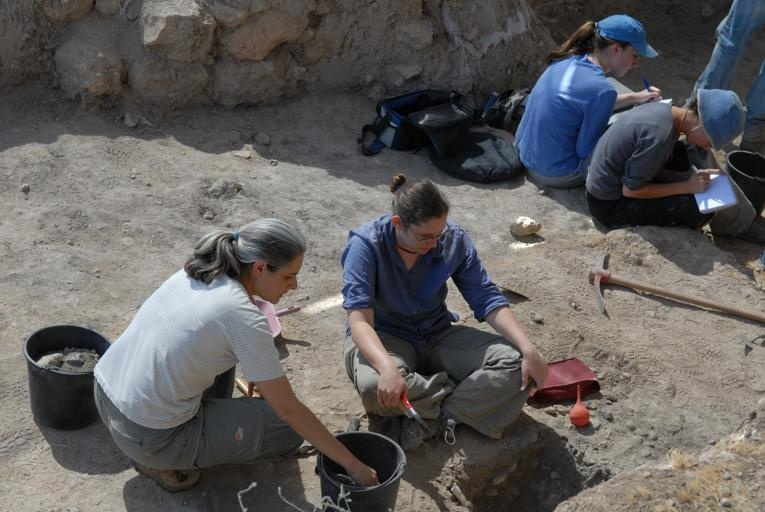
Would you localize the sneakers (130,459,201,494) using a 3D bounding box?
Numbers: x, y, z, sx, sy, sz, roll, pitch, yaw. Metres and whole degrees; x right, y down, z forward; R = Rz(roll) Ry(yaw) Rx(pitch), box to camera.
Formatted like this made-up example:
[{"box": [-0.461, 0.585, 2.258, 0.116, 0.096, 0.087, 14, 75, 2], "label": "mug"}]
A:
[{"box": [-1.408, 1.496, 5.919, 0.484, 0.204, 0.179, 9, 73, -8], "label": "sneakers"}]

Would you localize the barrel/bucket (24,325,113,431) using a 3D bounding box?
[{"box": [-2.174, 0.843, 6.298, 0.650, 0.607, 0.693, 11, 24, -5], "label": "barrel/bucket"}]

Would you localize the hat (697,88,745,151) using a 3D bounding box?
[{"box": [2.836, -1.168, 7.535, 0.259, 0.362, 0.471, -22, 57, 32], "label": "hat"}]

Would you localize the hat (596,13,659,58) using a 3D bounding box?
[{"box": [2.288, -2.010, 8.329, 0.564, 0.296, 0.348, 20, 25, -10], "label": "hat"}]
